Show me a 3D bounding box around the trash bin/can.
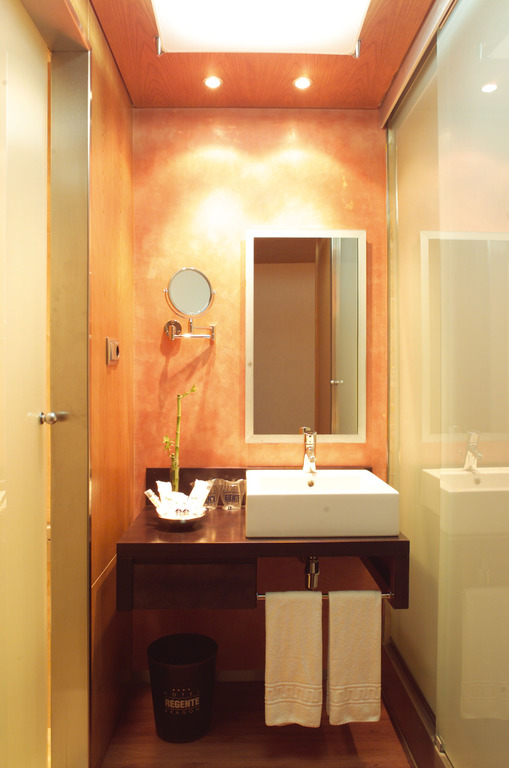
[{"bbox_3d":[-0.222,1.000,2.090,0.221,0.314,0.241,-1,-3,8],"label":"trash bin/can"}]

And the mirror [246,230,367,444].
[{"bbox_3d":[0.201,-0.147,2.440,0.471,1.068,0.130,0,41,5],"label":"mirror"}]

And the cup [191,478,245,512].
[{"bbox_3d":[-0.133,0.405,2.276,0.152,0.135,0.120,-1,-7,1],"label":"cup"}]

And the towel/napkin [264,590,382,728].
[{"bbox_3d":[0.208,0.831,1.874,0.350,0.392,0.126,1,3,0],"label":"towel/napkin"}]

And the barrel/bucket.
[{"bbox_3d":[-0.242,1.020,2.088,0.230,0.282,0.269,0,3,-10],"label":"barrel/bucket"}]

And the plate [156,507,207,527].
[{"bbox_3d":[-0.240,0.438,2.045,0.167,0.067,0.164,0,4,-11],"label":"plate"}]

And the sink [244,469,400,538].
[{"bbox_3d":[0.206,0.388,2.092,0.466,0.148,0.445,1,4,0],"label":"sink"}]
